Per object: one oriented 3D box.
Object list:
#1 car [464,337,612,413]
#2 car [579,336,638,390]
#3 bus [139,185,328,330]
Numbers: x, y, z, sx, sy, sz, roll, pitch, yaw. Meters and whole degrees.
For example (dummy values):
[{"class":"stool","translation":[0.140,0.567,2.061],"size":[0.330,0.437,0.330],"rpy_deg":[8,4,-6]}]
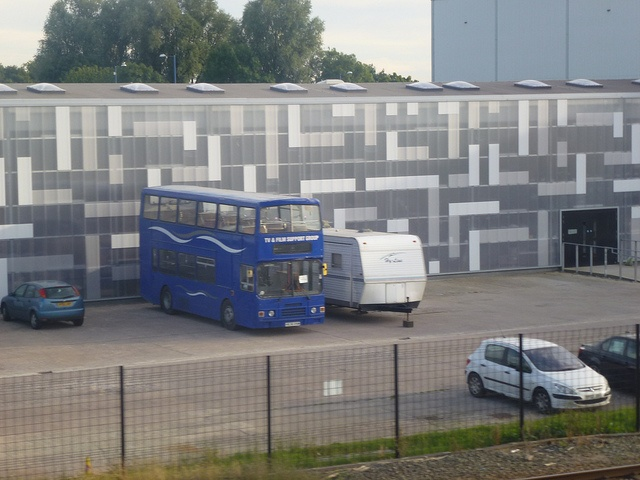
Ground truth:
[{"class":"car","translation":[6.477,4.034,41.548],"size":[4.097,2.090,2.184],"rpy_deg":[-2,2,-10]},{"class":"car","translation":[9.108,3.706,43.867],"size":[2.034,0.859,1.015],"rpy_deg":[1,1,39]},{"class":"bus","translation":[-3.960,0.655,53.832],"size":[8.819,5.383,2.753],"rpy_deg":[0,2,42]}]
